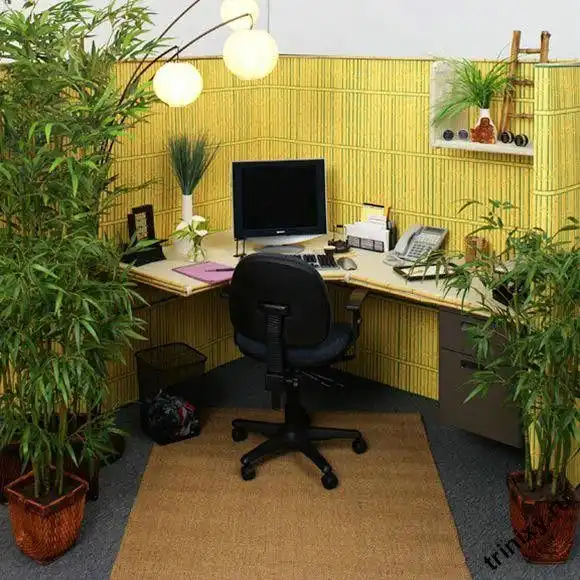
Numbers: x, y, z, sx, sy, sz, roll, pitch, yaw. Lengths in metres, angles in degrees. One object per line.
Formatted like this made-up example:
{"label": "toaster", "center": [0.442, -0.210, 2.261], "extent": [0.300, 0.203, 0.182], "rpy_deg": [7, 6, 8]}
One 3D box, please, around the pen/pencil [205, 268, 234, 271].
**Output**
{"label": "pen/pencil", "center": [-0.384, -0.107, 2.696], "extent": [0.181, 0.018, 0.019], "rpy_deg": [-2, -8, -8]}

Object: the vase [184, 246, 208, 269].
{"label": "vase", "center": [-0.527, -0.185, 2.853], "extent": [0.105, 0.095, 0.103], "rpy_deg": [2, 12, 11]}

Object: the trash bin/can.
{"label": "trash bin/can", "center": [-0.678, 0.598, 2.858], "extent": [0.399, 0.476, 0.389], "rpy_deg": [-9, 18, -38]}

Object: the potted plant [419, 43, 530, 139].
{"label": "potted plant", "center": [0.994, -1.009, 2.762], "extent": [0.532, 0.454, 0.541], "rpy_deg": [-11, 22, -32]}

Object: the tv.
{"label": "tv", "center": [-0.071, -0.512, 3.068], "extent": [0.681, 0.601, 0.132], "rpy_deg": [-2, 2, -10]}

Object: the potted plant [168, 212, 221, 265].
{"label": "potted plant", "center": [-0.543, -0.291, 2.891], "extent": [0.265, 0.250, 0.257], "rpy_deg": [1, 14, 1]}

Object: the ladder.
{"label": "ladder", "center": [1.128, -1.004, 2.455], "extent": [0.125, 0.482, 0.307], "rpy_deg": [-3, 13, -14]}
